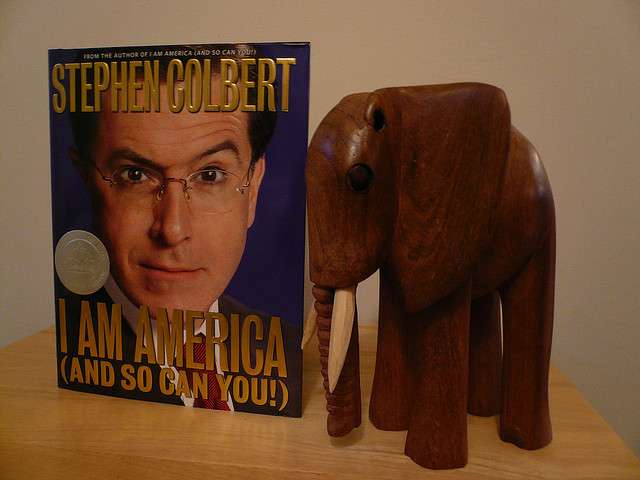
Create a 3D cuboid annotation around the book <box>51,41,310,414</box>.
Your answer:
[{"bbox_3d":[-0.254,-0.041,1.414,0.552,0.913,0.037,1,5,4],"label":"book"}]

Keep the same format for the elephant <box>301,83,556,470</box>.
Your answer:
[{"bbox_3d":[0.219,0.016,1.613,0.564,0.979,0.505,0,4,-1],"label":"elephant"}]
